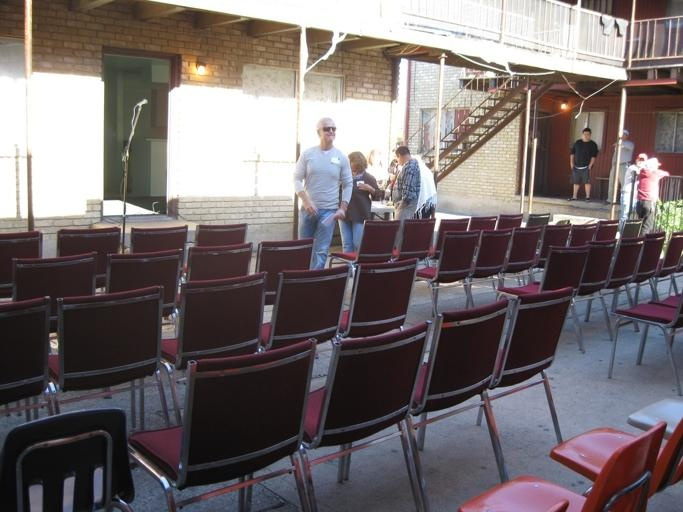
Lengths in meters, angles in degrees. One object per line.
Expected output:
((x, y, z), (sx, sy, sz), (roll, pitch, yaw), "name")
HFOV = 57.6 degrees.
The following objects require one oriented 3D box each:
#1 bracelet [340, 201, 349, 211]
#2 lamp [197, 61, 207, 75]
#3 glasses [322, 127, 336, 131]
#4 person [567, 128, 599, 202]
((0.007, -0.555, 7.130), (0.092, 0.116, 0.110), (9, 18, 27), "bracelet")
((-2.185, -2.906, 9.682), (0.109, 0.198, 0.205), (5, 12, 24), "lamp")
((-0.139, -1.433, 7.080), (0.182, 0.045, 0.094), (-6, 13, -30), "glasses")
((6.039, -2.267, 15.493), (0.574, 1.785, 1.487), (5, 12, 22), "person")
